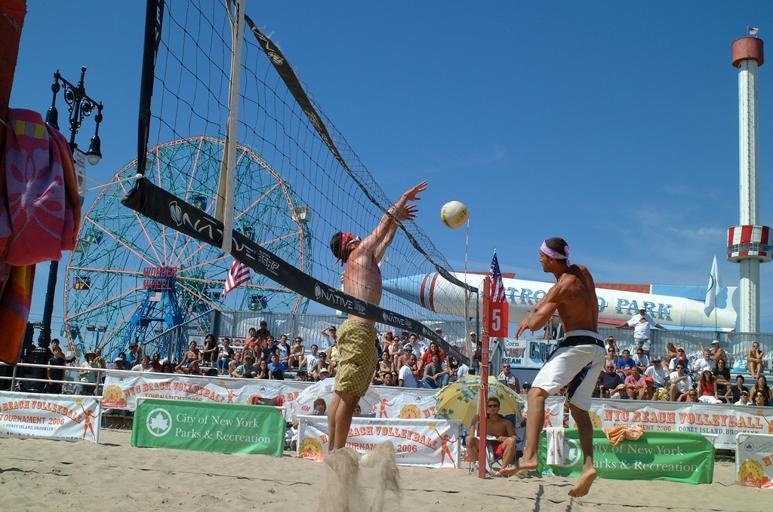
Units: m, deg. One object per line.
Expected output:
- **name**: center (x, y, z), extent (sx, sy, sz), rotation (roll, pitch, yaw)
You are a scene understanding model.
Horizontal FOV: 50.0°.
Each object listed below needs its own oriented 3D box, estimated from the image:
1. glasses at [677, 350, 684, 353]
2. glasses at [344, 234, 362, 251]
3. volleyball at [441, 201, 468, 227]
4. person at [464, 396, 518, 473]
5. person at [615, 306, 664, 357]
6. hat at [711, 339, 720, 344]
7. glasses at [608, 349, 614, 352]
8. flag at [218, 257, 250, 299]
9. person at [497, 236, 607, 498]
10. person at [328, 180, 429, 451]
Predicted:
- **glasses**: center (6.786, 2.172, 18.948), extent (0.082, 0.035, 0.088), rotation (4, -23, -6)
- **glasses**: center (-0.412, -0.150, 10.378), extent (0.151, 0.152, 0.127), rotation (-36, 31, -24)
- **volleyball**: center (1.075, -0.638, 12.842), extent (0.370, 0.439, 0.434), rotation (2, -10, 4)
- **person**: center (1.810, 3.006, 13.887), extent (0.768, 1.331, 0.802), rotation (-5, -25, 18)
- **person**: center (6.918, 2.116, 22.151), extent (1.248, 1.642, 0.411), rotation (-1, 30, 19)
- **hat**: center (8.676, 2.224, 21.645), extent (0.257, 0.129, 0.389), rotation (0, -7, 30)
- **glasses**: center (5.235, 2.189, 19.096), extent (0.085, 0.093, 0.030), rotation (2, 2, -10)
- **flag**: center (-3.693, 0.530, 20.227), extent (0.160, 0.814, 2.010), rotation (-36, 3, 9)
- **person**: center (2.255, 1.390, 10.465), extent (1.205, 3.202, 0.674), rotation (10, -13, -38)
- **person**: center (-0.253, 0.776, 10.452), extent (0.968, 3.287, 0.681), rotation (3, -10, -5)
